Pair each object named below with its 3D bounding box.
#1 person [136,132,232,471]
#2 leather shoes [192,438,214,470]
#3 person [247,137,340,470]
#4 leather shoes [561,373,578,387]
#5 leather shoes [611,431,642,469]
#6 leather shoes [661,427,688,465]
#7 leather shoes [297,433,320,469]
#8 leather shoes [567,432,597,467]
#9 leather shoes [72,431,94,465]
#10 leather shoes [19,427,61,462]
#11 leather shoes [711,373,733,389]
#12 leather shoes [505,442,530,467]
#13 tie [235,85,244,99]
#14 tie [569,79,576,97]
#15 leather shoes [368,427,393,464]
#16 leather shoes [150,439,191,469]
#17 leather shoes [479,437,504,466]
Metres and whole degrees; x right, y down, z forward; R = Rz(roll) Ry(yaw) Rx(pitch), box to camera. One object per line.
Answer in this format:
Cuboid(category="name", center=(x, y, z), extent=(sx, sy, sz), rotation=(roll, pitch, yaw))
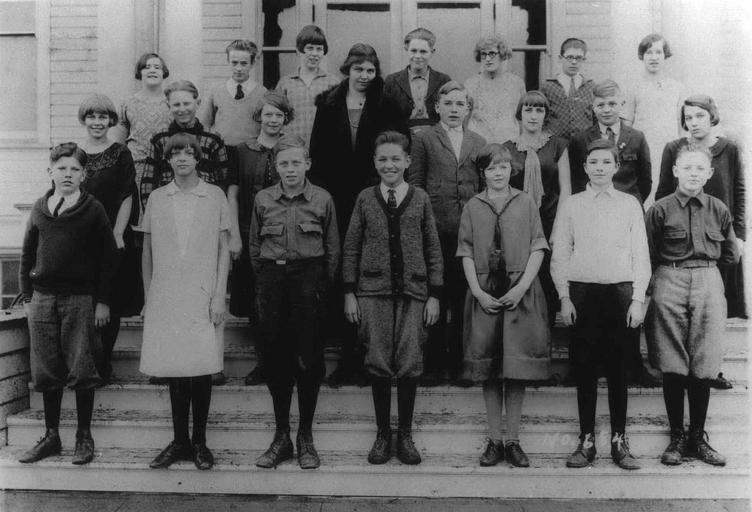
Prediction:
Cuboid(category="person", center=(-1.416, 0.333, 6.919), extent=(0.650, 2.476, 0.507), rotation=(1, 7, -8))
Cuboid(category="leather shoes", center=(-1.273, 1.487, 6.894), extent=(0.163, 0.220, 0.116), rotation=(1, 7, -8))
Cuboid(category="person", center=(-0.600, 0.345, 6.896), extent=(0.656, 2.441, 0.542), rotation=(1, 7, -7))
Cuboid(category="leather shoes", center=(1.481, 0.953, 7.176), extent=(0.154, 0.120, 0.103), rotation=(0, 4, 14))
Cuboid(category="leather shoes", center=(1.837, 1.442, 6.862), extent=(0.221, 0.263, 0.092), rotation=(3, 7, 13))
Cuboid(category="leather shoes", center=(2.217, 1.421, 6.913), extent=(0.138, 0.141, 0.345), rotation=(4, 15, 31))
Cuboid(category="leather shoes", center=(-0.506, 1.434, 6.833), extent=(0.123, 0.138, 0.336), rotation=(-3, 5, -7))
Cuboid(category="leather shoes", center=(1.519, 1.438, 6.892), extent=(0.235, 0.249, 0.125), rotation=(1, 7, 0))
Cuboid(category="leather shoes", center=(-2.181, 1.437, 6.983), extent=(0.163, 0.245, 0.127), rotation=(0, 7, -15))
Cuboid(category="leather shoes", center=(-2.473, 1.438, 6.979), extent=(0.416, 0.231, 0.144), rotation=(0, 3, -19))
Cuboid(category="leather shoes", center=(2.621, 0.957, 7.078), extent=(0.125, 0.079, 0.208), rotation=(-1, -8, 7))
Cuboid(category="leather shoes", center=(1.040, 1.463, 6.863), extent=(0.183, 0.190, 0.080), rotation=(2, 7, 6))
Cuboid(category="tie", center=(-1.141, -1.372, 7.759), extent=(0.095, 0.100, 0.030), rotation=(2, 0, -7))
Cuboid(category="tie", center=(1.626, -1.403, 7.712), extent=(0.078, 0.167, 0.064), rotation=(4, 8, 17))
Cuboid(category="leather shoes", center=(0.045, 1.420, 6.883), extent=(0.142, 0.127, 0.311), rotation=(3, 13, 14))
Cuboid(category="leather shoes", center=(-1.483, 1.450, 6.971), extent=(0.391, 0.142, 0.134), rotation=(-16, 28, -34))
Cuboid(category="leather shoes", center=(0.855, 1.452, 6.891), extent=(0.168, 0.190, 0.160), rotation=(5, 8, 28))
